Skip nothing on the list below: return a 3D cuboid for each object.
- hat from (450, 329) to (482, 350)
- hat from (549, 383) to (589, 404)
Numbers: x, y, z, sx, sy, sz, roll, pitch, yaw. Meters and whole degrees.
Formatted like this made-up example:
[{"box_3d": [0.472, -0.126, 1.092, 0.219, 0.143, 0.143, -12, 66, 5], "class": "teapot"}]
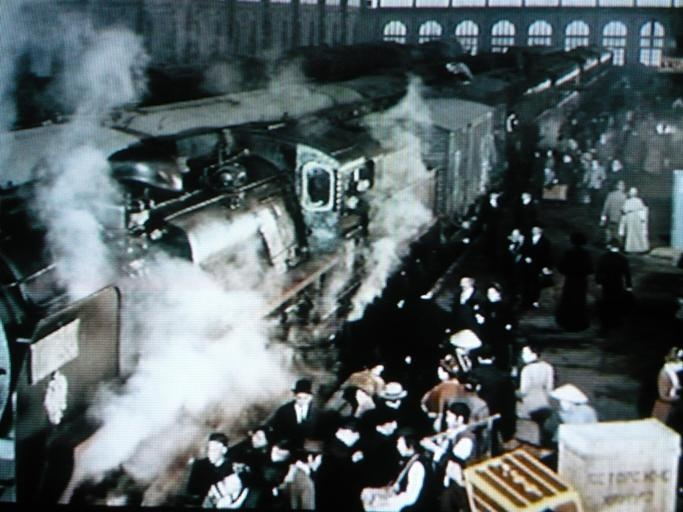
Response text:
[{"box_3d": [1.392, 0.953, 7.136, 0.270, 0.178, 0.214, -8, 15, -23], "class": "hat"}, {"box_3d": [2.292, 1.391, 6.418, 0.322, 0.145, 0.295, 0, 13, 7], "class": "hat"}]
